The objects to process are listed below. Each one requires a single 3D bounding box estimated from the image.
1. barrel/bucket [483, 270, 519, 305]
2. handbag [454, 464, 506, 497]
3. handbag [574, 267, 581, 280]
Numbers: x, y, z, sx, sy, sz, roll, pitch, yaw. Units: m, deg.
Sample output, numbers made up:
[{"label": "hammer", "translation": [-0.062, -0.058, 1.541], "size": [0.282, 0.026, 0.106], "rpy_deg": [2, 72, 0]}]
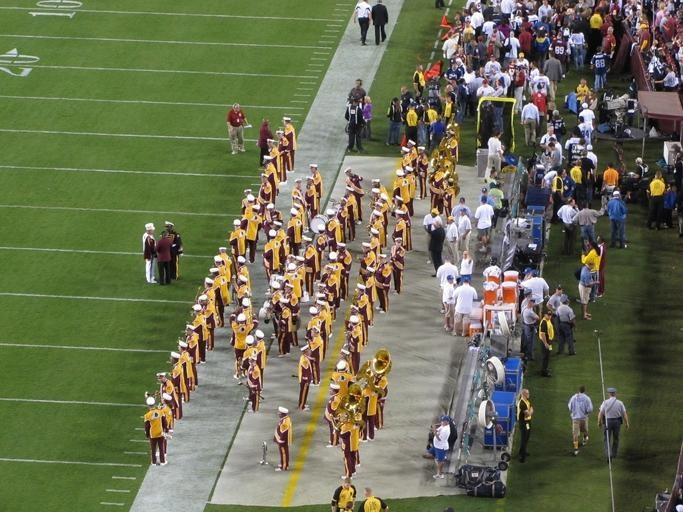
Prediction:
[{"label": "barrel/bucket", "translation": [4.423, 0.902, 52.201], "size": [0.967, 1.319, 0.919], "rpy_deg": [0, 13, 0]}, {"label": "handbag", "translation": [3.458, 5.590, 47.244], "size": [1.257, 0.674, 0.579], "rpy_deg": [1, 9, 7]}, {"label": "handbag", "translation": [6.660, 0.449, 53.450], "size": [0.245, 0.297, 0.313], "rpy_deg": [0, 23, 1]}]
